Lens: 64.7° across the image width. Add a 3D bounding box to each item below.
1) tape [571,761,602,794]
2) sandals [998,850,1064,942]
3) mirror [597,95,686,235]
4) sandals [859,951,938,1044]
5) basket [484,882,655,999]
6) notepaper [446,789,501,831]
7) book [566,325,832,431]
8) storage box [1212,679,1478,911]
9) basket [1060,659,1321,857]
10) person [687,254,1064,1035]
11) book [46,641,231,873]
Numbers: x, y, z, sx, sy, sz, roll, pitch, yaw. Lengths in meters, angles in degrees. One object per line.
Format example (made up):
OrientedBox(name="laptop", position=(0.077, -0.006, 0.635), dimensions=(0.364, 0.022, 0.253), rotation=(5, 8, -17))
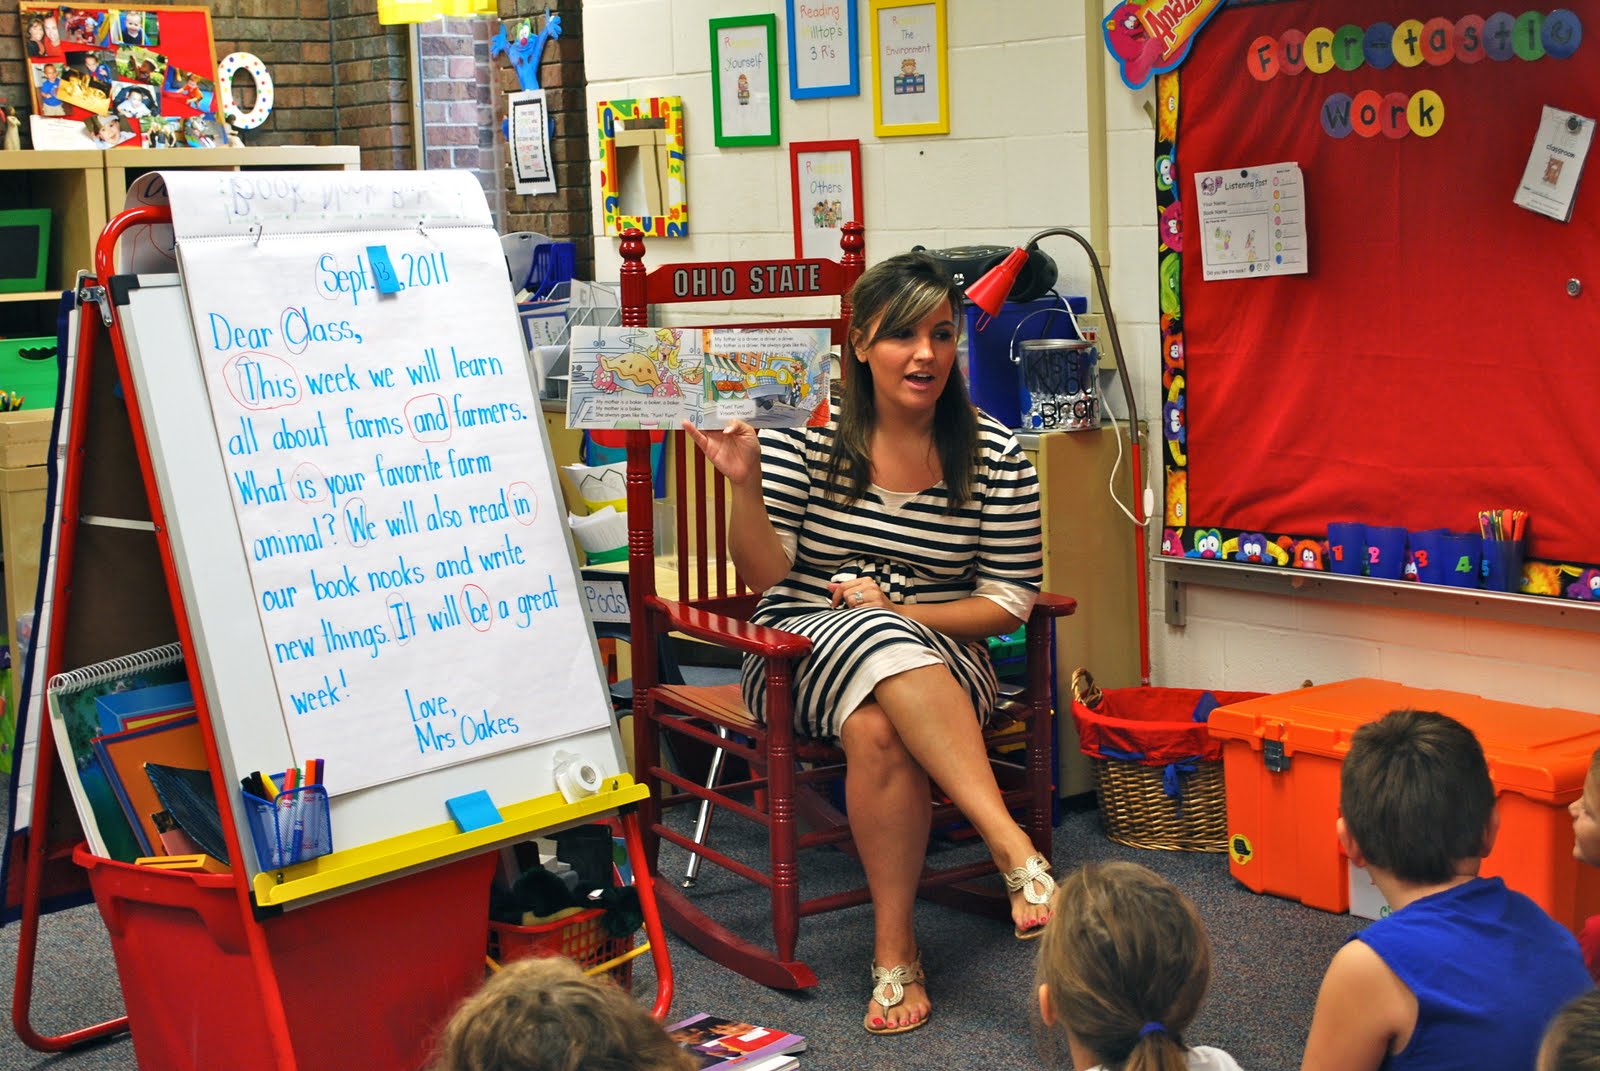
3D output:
OrientedBox(name="tape", position=(-0.413, 0.474, 2.478), dimensions=(0.054, 0.055, 0.020), rotation=(25, -21, -31))
OrientedBox(name="sandals", position=(0.459, 0.728, 2.612), dimensions=(0.100, 0.120, 0.302), rotation=(-9, 3, 2))
OrientedBox(name="mirror", position=(-0.618, -1.433, 4.968), dimensions=(0.115, 0.533, 0.463), rotation=(-16, 20, -40))
OrientedBox(name="sandals", position=(0.211, 1.002, 2.733), dimensions=(0.138, 0.107, 0.289), rotation=(-2, -6, 6))
OrientedBox(name="basket", position=(-0.448, 0.785, 2.496), dimensions=(0.204, 0.149, 0.283), rotation=(-4, 3, -41))
OrientedBox(name="notepaper", position=(-0.603, 0.512, 2.356), dimensions=(0.091, 0.060, 0.050), rotation=(-14, 18, -34))
OrientedBox(name="book", position=(-0.239, -0.360, 2.955), dimensions=(0.612, 0.273, 0.184), rotation=(-3, 15, 1))
OrientedBox(name="storage box", position=(1.462, 0.707, 3.298), dimensions=(0.604, 0.446, 0.486), rotation=(0, -3, -24))
OrientedBox(name="basket", position=(1.021, 0.607, 3.463), dimensions=(0.483, 0.384, 0.504), rotation=(-3, 2, -24))
OrientedBox(name="person", position=(0.279, 0.193, 2.890), dimensions=(0.822, 1.586, 0.893), rotation=(-8, 16, -19))
OrientedBox(name="book", position=(-1.281, 0.447, 2.452), dimensions=(0.247, 0.358, 0.347), rotation=(-12, 18, -31))
